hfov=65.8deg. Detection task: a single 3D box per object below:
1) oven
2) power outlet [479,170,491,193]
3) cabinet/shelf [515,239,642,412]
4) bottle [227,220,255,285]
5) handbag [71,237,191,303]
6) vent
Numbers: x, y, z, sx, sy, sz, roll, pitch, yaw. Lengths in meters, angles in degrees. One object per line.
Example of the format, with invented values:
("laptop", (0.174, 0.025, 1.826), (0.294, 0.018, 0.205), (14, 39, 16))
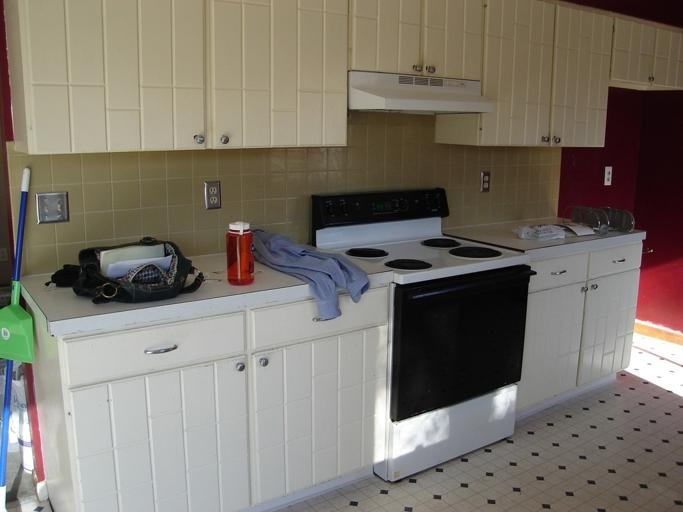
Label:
("oven", (0.485, 0.496, 3.037), (0.880, 1.116, 0.867), (-5, 17, -15))
("power outlet", (0.955, -0.502, 3.534), (0.133, 0.181, 0.019), (-9, 13, -42))
("cabinet/shelf", (1.408, 0.390, 3.452), (1.134, 0.983, 0.436), (-8, 15, -29))
("bottle", (-0.438, -0.009, 2.251), (0.118, 0.264, 0.078), (-5, 13, -10))
("handbag", (-0.818, 0.053, 2.122), (0.481, 0.215, 0.302), (-10, 15, -28))
("vent", (0.443, -0.856, 2.770), (0.859, 0.222, 0.204), (-11, 15, -29))
